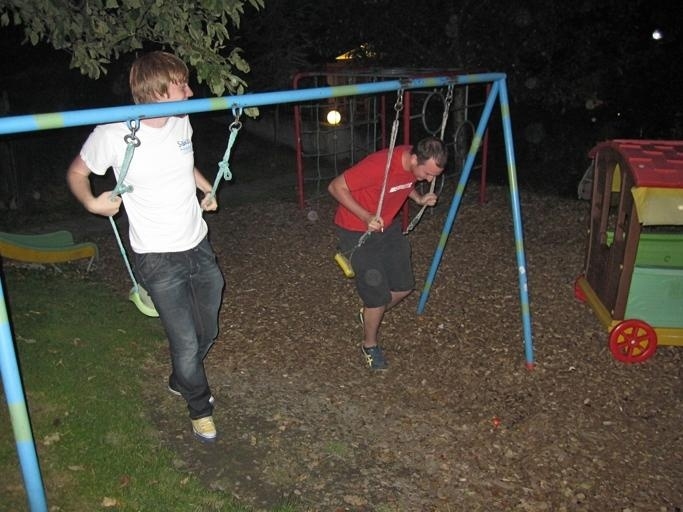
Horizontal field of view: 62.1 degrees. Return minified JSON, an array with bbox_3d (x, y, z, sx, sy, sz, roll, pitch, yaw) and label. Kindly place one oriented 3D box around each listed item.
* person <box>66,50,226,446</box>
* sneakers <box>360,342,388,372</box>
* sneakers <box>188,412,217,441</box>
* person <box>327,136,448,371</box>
[{"bbox_3d":[-1.243,0.057,4.005,0.961,2.805,0.635,-16,27,-30],"label":"person"},{"bbox_3d":[0.305,0.940,5.136,0.141,0.122,0.292,-21,60,-29],"label":"sneakers"},{"bbox_3d":[-1.058,1.335,4.385,0.104,0.118,0.298,1,-2,-28],"label":"sneakers"},{"bbox_3d":[0.375,0.025,4.817,0.905,2.080,0.547,-2,23,-2],"label":"person"}]
